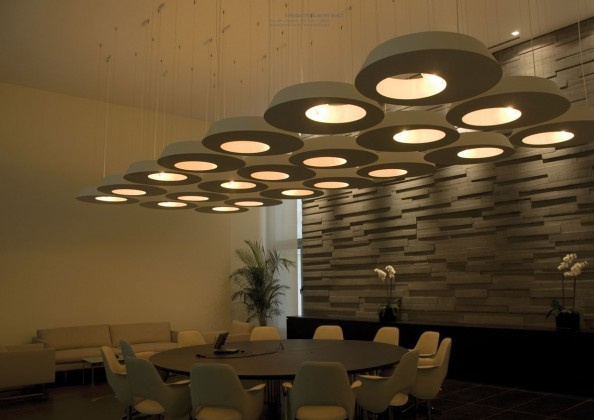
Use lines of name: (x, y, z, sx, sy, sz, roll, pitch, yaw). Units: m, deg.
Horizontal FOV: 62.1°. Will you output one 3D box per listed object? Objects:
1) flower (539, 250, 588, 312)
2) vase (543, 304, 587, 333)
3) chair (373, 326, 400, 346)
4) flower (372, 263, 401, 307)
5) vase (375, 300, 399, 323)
flower: (4.317, 1.202, 7.896, 0.617, 1.047, 0.499, -3, -6, 30)
vase: (4.249, 1.722, 7.887, 0.541, 0.514, 0.310, -4, -10, 22)
chair: (1.525, 2.090, 8.222, 0.330, 0.452, 0.369, -7, -22, 27)
flower: (1.843, 1.538, 10.252, 0.475, 0.822, 0.820, 0, -6, 8)
vase: (1.829, 2.066, 9.997, 0.380, 0.323, 0.387, -7, -9, 40)
